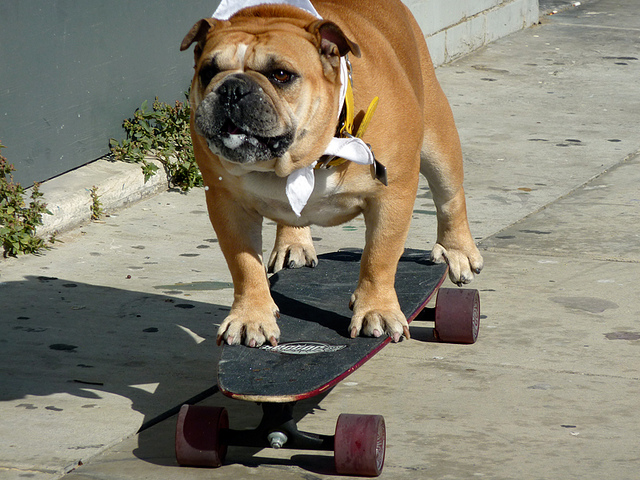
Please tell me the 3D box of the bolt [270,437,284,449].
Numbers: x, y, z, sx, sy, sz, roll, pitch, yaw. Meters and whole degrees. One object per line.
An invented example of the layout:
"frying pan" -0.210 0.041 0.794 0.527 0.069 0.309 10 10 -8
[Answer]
"bolt" -0.178 0.844 3.774 0.051 0.040 0.042 -9 -3 1
